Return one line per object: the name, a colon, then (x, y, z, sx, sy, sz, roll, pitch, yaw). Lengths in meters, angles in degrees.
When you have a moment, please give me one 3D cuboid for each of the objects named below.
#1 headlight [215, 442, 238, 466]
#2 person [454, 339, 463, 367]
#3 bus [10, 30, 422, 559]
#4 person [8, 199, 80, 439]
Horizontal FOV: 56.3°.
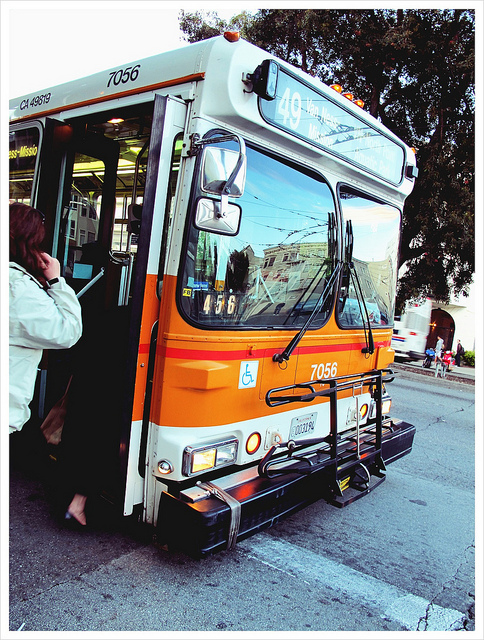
headlight: (-0.088, 0.777, 2.679, 0.027, 0.133, 0.239, 8, -1, 30)
person: (12.478, 1.847, 26.044, 0.352, 1.452, 1.697, 8, -1, 25)
bus: (-0.740, -0.321, 4.819, 2.604, 2.988, 4.719, 0, 4, -41)
person: (-1.103, -0.025, 2.431, 0.408, 1.263, 0.373, 9, -1, -31)
